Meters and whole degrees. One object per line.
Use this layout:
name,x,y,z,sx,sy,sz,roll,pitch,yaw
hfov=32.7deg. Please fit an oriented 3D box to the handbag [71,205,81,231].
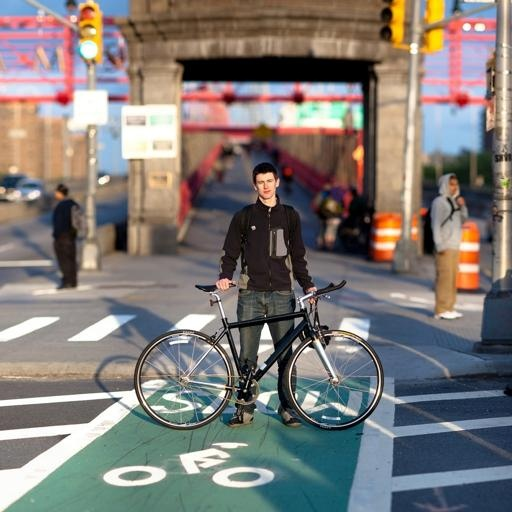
handbag,-2.909,-0.633,14.244,0.082,0.328,0.227,2,-3,-2

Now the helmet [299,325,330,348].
helmet,0.476,0.636,7.003,0.252,0.163,0.170,1,8,-4

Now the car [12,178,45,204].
car,-10.982,-3.206,42.816,1.110,1.002,1.986,1,-5,6

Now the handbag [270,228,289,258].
handbag,0.176,-0.112,6.998,0.140,0.237,0.058,1,8,1

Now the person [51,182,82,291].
person,-3.138,-0.318,14.626,0.458,1.788,0.936,-1,8,-13

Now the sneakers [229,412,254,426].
sneakers,-0.114,1.312,7.056,0.223,0.102,0.080,-1,10,-14

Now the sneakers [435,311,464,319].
sneakers,2.557,0.780,11.581,0.345,0.165,0.130,-3,9,-7

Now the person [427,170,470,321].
person,2.518,-0.147,11.543,0.471,1.923,0.599,3,8,13

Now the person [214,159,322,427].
person,0.086,0.298,7.062,0.772,2.118,0.576,2,8,3
